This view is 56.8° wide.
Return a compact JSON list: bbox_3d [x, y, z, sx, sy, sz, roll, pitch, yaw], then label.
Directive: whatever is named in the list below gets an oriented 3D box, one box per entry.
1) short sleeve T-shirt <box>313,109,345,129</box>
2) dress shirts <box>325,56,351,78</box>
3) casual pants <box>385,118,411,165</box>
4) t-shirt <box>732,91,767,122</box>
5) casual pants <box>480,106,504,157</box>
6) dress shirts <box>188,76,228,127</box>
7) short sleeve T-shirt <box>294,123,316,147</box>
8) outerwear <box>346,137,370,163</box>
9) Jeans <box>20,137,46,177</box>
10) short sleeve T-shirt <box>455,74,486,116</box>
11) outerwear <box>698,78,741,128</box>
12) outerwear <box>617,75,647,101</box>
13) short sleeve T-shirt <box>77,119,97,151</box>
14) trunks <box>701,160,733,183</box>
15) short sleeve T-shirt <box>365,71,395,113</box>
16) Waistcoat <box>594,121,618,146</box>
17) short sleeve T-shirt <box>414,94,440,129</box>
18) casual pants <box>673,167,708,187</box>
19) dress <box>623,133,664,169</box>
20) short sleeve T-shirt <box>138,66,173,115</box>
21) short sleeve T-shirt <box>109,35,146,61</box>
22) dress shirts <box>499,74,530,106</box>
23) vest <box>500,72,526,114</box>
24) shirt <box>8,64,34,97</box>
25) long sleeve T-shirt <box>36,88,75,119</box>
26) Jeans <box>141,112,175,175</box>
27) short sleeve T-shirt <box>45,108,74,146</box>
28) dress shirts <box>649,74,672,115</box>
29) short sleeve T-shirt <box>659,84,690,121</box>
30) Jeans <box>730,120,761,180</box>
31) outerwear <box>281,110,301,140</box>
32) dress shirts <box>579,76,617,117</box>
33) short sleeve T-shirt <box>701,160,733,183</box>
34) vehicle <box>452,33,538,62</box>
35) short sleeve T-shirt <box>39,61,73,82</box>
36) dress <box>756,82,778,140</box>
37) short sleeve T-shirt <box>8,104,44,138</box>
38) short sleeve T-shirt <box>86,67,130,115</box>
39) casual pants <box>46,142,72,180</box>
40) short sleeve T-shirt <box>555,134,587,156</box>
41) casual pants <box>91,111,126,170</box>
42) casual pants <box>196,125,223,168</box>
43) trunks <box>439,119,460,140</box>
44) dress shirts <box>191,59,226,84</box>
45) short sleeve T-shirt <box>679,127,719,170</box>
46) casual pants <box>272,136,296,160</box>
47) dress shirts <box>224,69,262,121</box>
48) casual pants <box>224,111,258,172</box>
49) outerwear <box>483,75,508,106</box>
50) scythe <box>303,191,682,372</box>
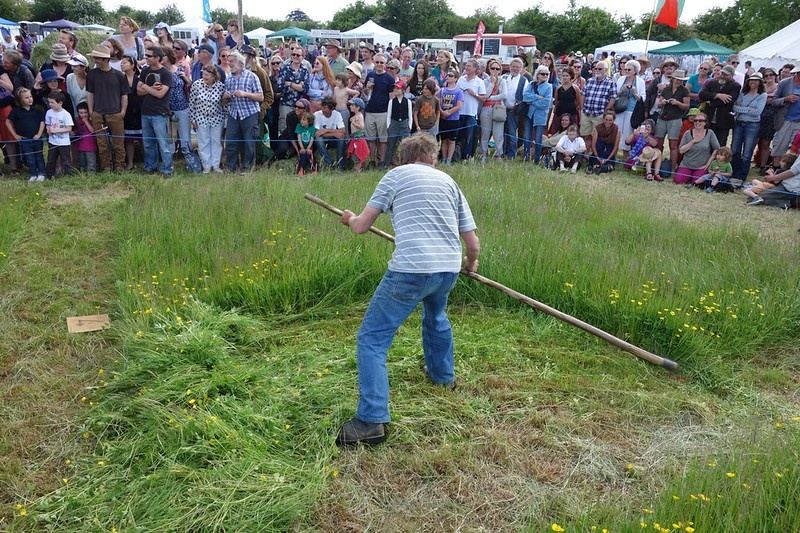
[{"bbox_3d":[-1.484,-3.058,15.459,0.634,0.495,0.358,0,5,0],"label":"short sleeve T-shirt"},{"bbox_3d":[-1.416,-4.626,16.927,0.330,0.398,0.669,14,19,38],"label":"dress shirts"},{"bbox_3d":[-0.054,-2.699,16.093,0.509,1.216,0.330,6,36,-2],"label":"casual pants"},{"bbox_3d":[7.495,-3.459,15.883,0.507,0.641,0.369,14,-3,38],"label":"t-shirt"},{"bbox_3d":[2.175,-3.149,17.232,0.609,1.187,0.469,0,15,-6],"label":"casual pants"},{"bbox_3d":[-3.809,-3.286,14.795,0.717,0.846,0.405,-2,31,-19],"label":"dress shirts"},{"bbox_3d":[-1.934,-2.724,15.337,0.404,0.466,0.273,-1,15,-10],"label":"short sleeve T-shirt"},{"bbox_3d":[-0.895,-2.495,15.817,0.694,0.680,0.411,-1,8,-16],"label":"outerwear"},{"bbox_3d":[-7.004,-2.101,14.164,0.391,0.714,0.425,-6,17,-26],"label":"Jeans"},{"bbox_3d":[1.652,-3.857,16.933,0.392,0.853,0.698,-6,11,-29],"label":"short sleeve T-shirt"},{"bbox_3d":[6.967,-3.548,16.054,0.851,1.110,0.602,15,19,42],"label":"outerwear"},{"bbox_3d":[5.353,-4.118,17.059,0.653,0.618,0.368,8,13,34],"label":"outerwear"},{"bbox_3d":[-6.191,-2.612,14.501,0.461,0.683,0.182,3,15,5],"label":"short sleeve T-shirt"},{"bbox_3d":[6.747,-2.051,15.695,0.511,0.453,0.384,10,17,26],"label":"trunks"},{"bbox_3d":[-0.451,-3.768,15.891,0.683,0.878,0.431,9,22,14],"label":"short sleeve T-shirt"},{"bbox_3d":[4.770,-3.052,17.089,0.683,0.738,0.397,2,9,14],"label":"Waistcoat"},{"bbox_3d":[0.548,-3.394,16.268,0.768,0.968,0.601,-3,9,-10],"label":"short sleeve T-shirt"},{"bbox_3d":[6.270,-2.002,16.109,0.419,0.176,0.430,-18,5,33],"label":"casual pants"},{"bbox_3d":[5.612,-2.645,17.115,0.416,0.494,0.942,-12,-24,16],"label":"dress"},{"bbox_3d":[-4.795,-3.490,14.524,0.718,0.943,0.454,6,8,6],"label":"short sleeve T-shirt"},{"bbox_3d":[-5.651,-4.624,15.659,0.524,0.481,0.434,-9,18,-35],"label":"short sleeve T-shirt"},{"bbox_3d":[2.636,-4.150,17.310,0.674,0.777,0.438,18,16,26],"label":"dress shirts"},{"bbox_3d":[2.625,-4.005,17.115,0.858,1.031,0.560,5,7,26],"label":"vest"},{"bbox_3d":[-7.367,-3.672,14.411,0.459,0.498,0.367,-7,17,-29],"label":"shirt"},{"bbox_3d":[-6.724,-3.303,14.473,0.622,0.621,0.453,8,45,-14],"label":"long sleeve T-shirt"},{"bbox_3d":[-4.837,-2.491,14.773,0.559,1.262,0.376,7,16,12],"label":"Jeans"},{"bbox_3d":[-6.472,-2.687,14.077,0.580,0.684,0.408,8,11,-1],"label":"short sleeve T-shirt"},{"bbox_3d":[5.896,-3.868,16.710,0.304,0.934,0.676,18,-1,17],"label":"dress shirts"},{"bbox_3d":[6.093,-3.653,16.497,0.660,0.822,0.483,14,16,38],"label":"short sleeve T-shirt"},{"bbox_3d":[7.447,-2.543,16.074,0.492,1.246,0.653,10,17,29],"label":"Jeans"},{"bbox_3d":[-2.290,-3.008,15.731,0.276,0.577,0.382,33,15,13],"label":"outerwear"},{"bbox_3d":[4.569,-3.876,16.967,0.710,0.857,0.432,28,27,25],"label":"dress shirts"},{"bbox_3d":[6.747,-2.051,15.695,0.511,0.453,0.384,10,17,26],"label":"short sleeve T-shirt"},{"bbox_3d":[5.621,-13.036,43.811,4.495,1.809,7.331,2,15,1],"label":"vehicle"},{"bbox_3d":[-6.663,-3.803,14.399,0.567,0.286,0.773,-1,-2,-18],"label":"short sleeve T-shirt"},{"bbox_3d":[8.050,-3.325,16.243,0.389,1.488,0.450,7,-21,19],"label":"dress"},{"bbox_3d":[-7.188,-2.801,14.196,0.600,0.609,0.311,-6,8,-36],"label":"short sleeve T-shirt"},{"bbox_3d":[-5.666,-3.413,14.316,0.874,0.996,0.487,-1,7,-23],"label":"short sleeve T-shirt"},{"bbox_3d":[-6.589,-2.066,14.285,0.468,0.614,0.392,-6,17,-26],"label":"casual pants"},{"bbox_3d":[3.915,-2.805,16.925,0.435,0.495,0.496,3,12,10],"label":"short sleeve T-shirt"},{"bbox_3d":[-5.773,-2.553,14.679,0.585,1.239,0.380,-3,26,-19],"label":"casual pants"},{"bbox_3d":[-3.841,-2.428,14.997,0.478,0.917,0.273,-3,16,-17],"label":"casual pants"},{"bbox_3d":[1.075,-3.138,16.811,0.481,0.701,0.391,3,13,-1],"label":"trunks"},{"bbox_3d":[-3.834,-3.940,14.925,0.593,0.445,0.340,18,21,10],"label":"dress shirts"},{"bbox_3d":[6.537,-2.577,16.160,0.870,0.878,0.486,2,7,19],"label":"short sleeve T-shirt"},{"bbox_3d":[-2.483,-2.561,15.894,0.488,0.483,0.571,0,15,-8],"label":"casual pants"},{"bbox_3d":[-3.151,-3.444,14.769,0.868,0.993,0.598,2,12,6],"label":"dress shirts"},{"bbox_3d":[-3.243,-2.572,15.152,0.600,1.421,0.424,1,-21,-4],"label":"casual pants"},{"bbox_3d":[2.202,-4.048,17.101,0.587,0.637,0.437,-2,15,-12],"label":"outerwear"},{"bbox_3d":[1.203,0.276,9.843,5.595,0.290,0.381,25,21,22],"label":"scythe"}]
